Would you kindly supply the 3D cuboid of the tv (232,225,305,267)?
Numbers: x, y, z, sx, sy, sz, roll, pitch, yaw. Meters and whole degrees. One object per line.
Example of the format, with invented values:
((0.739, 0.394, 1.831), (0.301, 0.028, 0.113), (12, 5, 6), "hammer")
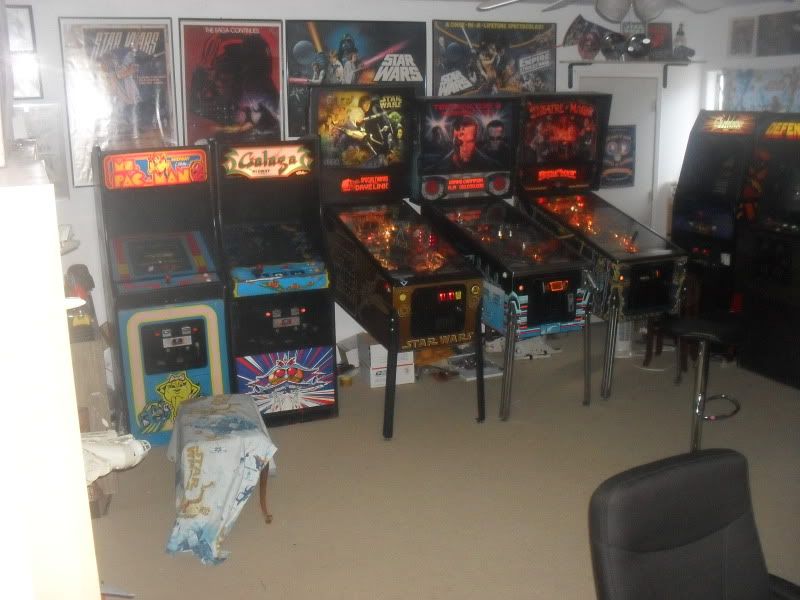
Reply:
((-0.873, -0.370, 4.345), (0.522, 0.215, 0.342), (-8, 19, -15), "tv")

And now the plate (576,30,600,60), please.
((1.608, -2.169, 5.656), (0.244, 0.228, 0.104), (-15, 21, -31), "plate")

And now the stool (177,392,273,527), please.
((-0.917, 0.888, 3.457), (0.524, 0.592, 0.522), (-10, 19, -19), "stool")

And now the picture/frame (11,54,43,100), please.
((-2.416, -1.439, 4.259), (0.164, 0.287, 0.091), (-6, 18, -8), "picture/frame")

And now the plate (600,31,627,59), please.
((1.732, -2.062, 5.385), (0.216, 0.206, 0.175), (5, 20, 24), "plate")

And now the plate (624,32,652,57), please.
((1.891, -2.037, 5.286), (0.183, 0.186, 0.130), (3, 19, 18), "plate")

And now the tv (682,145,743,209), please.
((2.517, -1.007, 5.380), (0.158, 0.482, 0.526), (-15, 21, -32), "tv")
